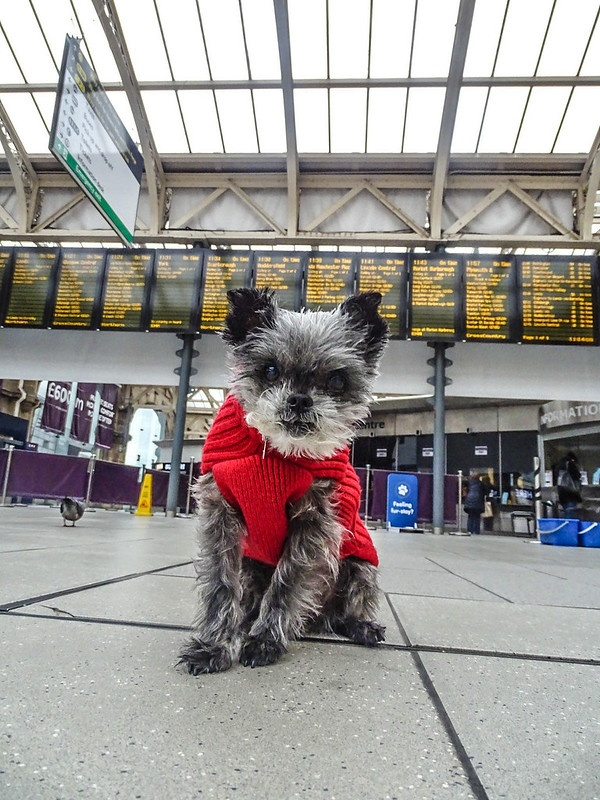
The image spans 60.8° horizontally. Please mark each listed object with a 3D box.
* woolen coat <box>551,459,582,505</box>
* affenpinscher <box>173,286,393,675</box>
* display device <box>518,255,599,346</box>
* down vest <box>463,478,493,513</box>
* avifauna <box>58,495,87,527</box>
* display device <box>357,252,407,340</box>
[{"bbox_3d":[6.237,1.849,11.762,0.492,1.252,1.181,-2,-13,28],"label":"woolen coat"},{"bbox_3d":[0.004,0.168,1.476,0.600,1.057,0.501,7,-11,-15],"label":"affenpinscher"},{"bbox_3d":[5.262,-1.949,10.236,1.758,2.350,0.182,0,-13,6],"label":"display device"},{"bbox_3d":[4.788,2.557,13.780,0.444,1.121,1.001,-2,-12,26],"label":"down vest"},{"bbox_3d":[-2.868,1.388,6.368,0.243,0.333,0.511,9,-12,-24],"label":"avifauna"},{"bbox_3d":[1.717,-2.268,10.787,1.048,1.815,0.172,2,-23,4],"label":"display device"}]
